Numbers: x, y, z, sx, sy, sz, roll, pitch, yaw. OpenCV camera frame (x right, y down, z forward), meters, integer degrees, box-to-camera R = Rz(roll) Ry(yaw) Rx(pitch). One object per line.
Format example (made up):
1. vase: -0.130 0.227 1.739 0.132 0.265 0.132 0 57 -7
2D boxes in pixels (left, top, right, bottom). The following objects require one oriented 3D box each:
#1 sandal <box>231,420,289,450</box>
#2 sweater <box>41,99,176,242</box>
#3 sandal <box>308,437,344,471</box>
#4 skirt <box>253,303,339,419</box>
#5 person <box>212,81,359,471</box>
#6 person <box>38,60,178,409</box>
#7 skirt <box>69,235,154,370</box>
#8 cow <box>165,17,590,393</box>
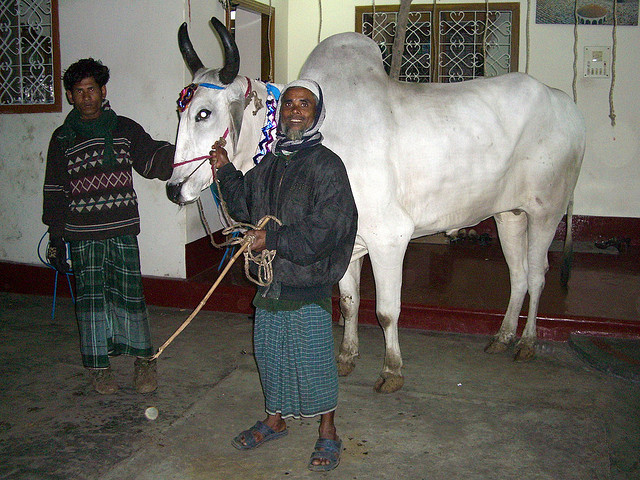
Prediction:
1. sandal: -0.383 1.260 3.869 0.326 0.126 0.129 -6 12 -26
2. sweater: -1.614 -0.560 4.730 1.327 1.222 0.524 -3 2 -23
3. sandal: 0.035 1.344 3.725 0.209 0.177 0.128 0 11 -4
4. skirt: -0.177 0.683 3.884 0.553 0.860 0.456 9 24 25
5. person: -0.166 0.218 3.725 0.768 2.380 0.569 0 10 -6
6. person: -1.545 -0.065 4.412 0.953 2.457 0.606 -2 11 -14
7. skirt: -1.523 0.469 4.428 0.531 1.013 0.322 -4 11 -22
8. cow: 0.597 -0.187 4.938 3.675 2.769 0.963 -3 10 -15
